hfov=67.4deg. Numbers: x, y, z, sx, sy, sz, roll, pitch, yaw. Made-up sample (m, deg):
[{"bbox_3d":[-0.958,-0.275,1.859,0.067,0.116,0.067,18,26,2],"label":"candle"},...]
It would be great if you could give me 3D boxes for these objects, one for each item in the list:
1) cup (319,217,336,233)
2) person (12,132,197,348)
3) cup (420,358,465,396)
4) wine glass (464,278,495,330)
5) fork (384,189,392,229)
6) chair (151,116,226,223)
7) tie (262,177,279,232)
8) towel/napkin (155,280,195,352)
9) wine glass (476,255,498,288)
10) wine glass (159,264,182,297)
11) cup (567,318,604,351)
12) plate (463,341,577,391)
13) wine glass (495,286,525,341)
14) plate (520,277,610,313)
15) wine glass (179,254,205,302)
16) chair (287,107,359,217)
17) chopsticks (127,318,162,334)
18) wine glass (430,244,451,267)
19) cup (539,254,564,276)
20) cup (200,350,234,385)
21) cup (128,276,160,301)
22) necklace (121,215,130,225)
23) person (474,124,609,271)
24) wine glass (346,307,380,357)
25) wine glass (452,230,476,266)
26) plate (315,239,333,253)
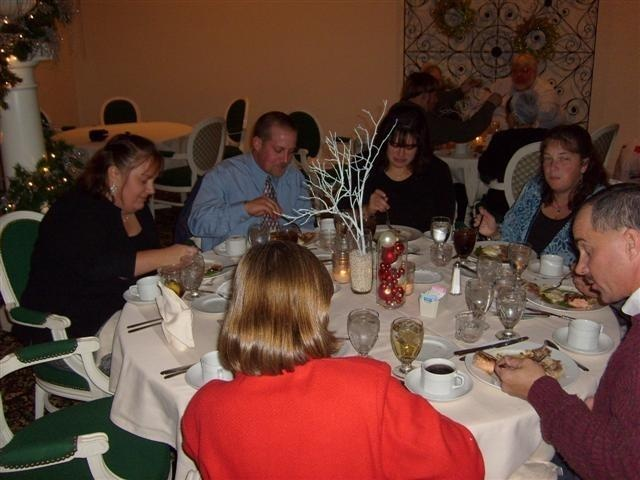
[{"bbox_3d":[0.048,-0.078,2.479,0.078,0.060,0.063,0,4,20],"label":"cup"},{"bbox_3d":[-1.098,0.120,2.490,0.785,1.289,0.558,11,17,4],"label":"person"},{"bbox_3d":[0.364,0.406,1.418,0.088,0.065,0.115,-14,24,-36],"label":"cup"},{"bbox_3d":[0.617,0.236,1.829,0.096,0.163,0.107,12,14,24],"label":"wine glass"},{"bbox_3d":[0.428,-0.133,2.928,0.044,0.274,0.047,-4,-26,13],"label":"fork"},{"bbox_3d":[-1.494,-0.812,5.476,0.814,1.192,0.804,6,20,9],"label":"chair"},{"bbox_3d":[-0.291,-0.222,2.969,0.087,0.466,0.069,-4,2,13],"label":"tie"},{"bbox_3d":[-0.490,0.263,1.634,0.138,0.215,0.084,12,-19,-28],"label":"towel/napkin"},{"bbox_3d":[0.735,0.121,2.049,0.085,0.134,0.089,-5,31,9],"label":"wine glass"},{"bbox_3d":[-0.628,0.178,2.047,0.094,0.128,0.095,-8,15,-21],"label":"wine glass"},{"bbox_3d":[0.906,0.315,1.611,0.086,0.082,0.114,-2,10,18],"label":"cup"},{"bbox_3d":[0.698,0.413,1.652,0.227,0.034,0.234,19,-22,-12],"label":"plate"},{"bbox_3d":[0.685,0.265,1.702,0.119,0.188,0.110,-6,19,-3],"label":"wine glass"},{"bbox_3d":[0.960,0.214,1.900,0.235,0.033,0.250,-15,-43,41],"label":"plate"},{"bbox_3d":[-0.536,0.159,2.036,0.114,0.190,0.116,-2,14,-14],"label":"wine glass"},{"bbox_3d":[0.188,-1.082,6.142,0.750,1.268,0.722,-7,11,45],"label":"chair"},{"bbox_3d":[-0.649,0.318,1.773,0.105,0.008,0.023,-16,38,-41],"label":"chopsticks"},{"bbox_3d":[0.588,0.072,2.286,0.101,0.089,0.089,0,9,7],"label":"wine glass"},{"bbox_3d":[1.057,0.116,2.155,0.091,0.071,0.093,-5,12,1],"label":"cup"},{"bbox_3d":[-0.311,0.363,1.468,0.081,0.089,0.129,-2,27,-14],"label":"cup"},{"bbox_3d":[-0.721,0.201,1.977,0.098,0.052,0.062,-14,29,-23],"label":"cup"},{"bbox_3d":[-0.998,-0.104,2.449,0.031,0.039,0.018,-7,14,-42],"label":"necklace"},{"bbox_3d":[1.280,-0.351,2.946,0.639,0.846,0.556,-20,29,-29],"label":"person"},{"bbox_3d":[0.153,0.323,1.615,0.119,0.184,0.122,1,6,14],"label":"wine glass"},{"bbox_3d":[0.687,0.036,2.223,0.099,0.154,0.095,5,-1,-38],"label":"wine glass"},{"bbox_3d":[0.028,0.026,2.467,0.070,0.068,0.072,0,3,2],"label":"plate"}]
